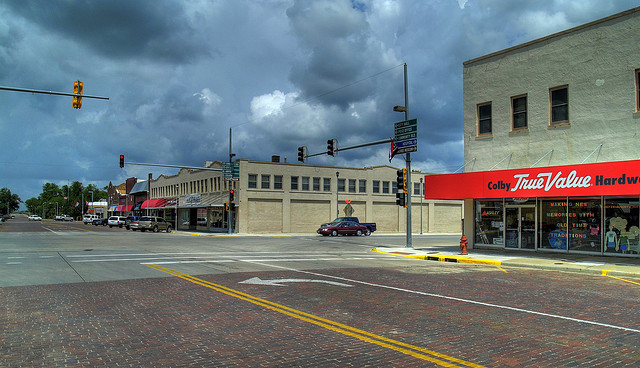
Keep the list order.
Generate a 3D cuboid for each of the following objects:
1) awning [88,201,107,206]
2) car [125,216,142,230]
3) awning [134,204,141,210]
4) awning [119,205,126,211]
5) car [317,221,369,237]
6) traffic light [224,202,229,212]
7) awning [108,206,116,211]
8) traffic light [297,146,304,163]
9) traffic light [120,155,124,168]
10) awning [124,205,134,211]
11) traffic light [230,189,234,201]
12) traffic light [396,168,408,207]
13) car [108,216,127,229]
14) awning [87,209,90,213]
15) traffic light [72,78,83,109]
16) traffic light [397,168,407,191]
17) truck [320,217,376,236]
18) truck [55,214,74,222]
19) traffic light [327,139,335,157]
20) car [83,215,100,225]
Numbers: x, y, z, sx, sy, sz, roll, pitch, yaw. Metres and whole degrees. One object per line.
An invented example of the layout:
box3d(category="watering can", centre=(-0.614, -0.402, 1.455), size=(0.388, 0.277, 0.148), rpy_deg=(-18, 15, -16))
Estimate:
box3d(category="awning", centre=(-76.948, 6.881, 176.827), size=(4.106, 0.831, 3.883), rpy_deg=(3, -4, -35))
box3d(category="car", centre=(-24.308, 5.053, 66.188), size=(1.732, 1.355, 2.950), rpy_deg=(0, 2, -34))
box3d(category="awning", centre=(-35.648, 4.512, 98.972), size=(1.052, 0.931, 1.040), rpy_deg=(0, -2, -12))
box3d(category="awning", centre=(-42.051, 5.072, 107.856), size=(1.406, 0.797, 1.726), rpy_deg=(0, -3, -19))
box3d(category="car", centre=(2.527, 4.878, 55.182), size=(4.703, 1.333, 1.973), rpy_deg=(4, -7, -24))
box3d(category="traffic light", centre=(-10.402, 2.625, 56.694), size=(0.532, 0.892, 2.829), rpy_deg=(-1, 3, -9))
box3d(category="awning", centre=(-48.149, 5.688, 117.523), size=(1.179, 1.444, 8.543), rpy_deg=(-2, 4, -25))
box3d(category="traffic light", centre=(-1.392, -2.318, 39.763), size=(0.379, 1.075, 0.544), rpy_deg=(0, 4, 3))
box3d(category="traffic light", centre=(-18.064, -2.061, 46.072), size=(0.254, 1.021, 0.269), rpy_deg=(-2, 5, -28))
box3d(category="awning", centre=(-38.476, 4.939, 102.505), size=(0.949, 1.444, 5.413), rpy_deg=(-2, 4, -29))
box3d(category="traffic light", centre=(-9.361, 1.216, 54.126), size=(0.294, 0.891, 0.676), rpy_deg=(0, 4, 9))
box3d(category="traffic light", centre=(6.064, 0.235, 36.744), size=(0.734, 2.693, 1.258), rpy_deg=(1, 4, 8))
box3d(category="car", centre=(-30.451, 5.829, 76.055), size=(1.742, 1.684, 5.523), rpy_deg=(-2, 4, -33))
box3d(category="awning", centre=(-63.839, 7.476, 139.727), size=(0.620, 0.683, 1.080), rpy_deg=(6, -10, -38))
box3d(category="traffic light", centre=(-12.500, -4.607, 26.117), size=(0.362, 1.365, 0.919), rpy_deg=(-2, 5, -29))
box3d(category="traffic light", centre=(5.967, -0.297, 36.394), size=(0.644, 1.593, 0.586), rpy_deg=(1, 4, 7))
box3d(category="truck", centre=(4.024, 4.583, 58.118), size=(5.714, 1.740, 2.450), rpy_deg=(3, -6, -19))
box3d(category="truck", centre=(-72.579, 9.695, 143.630), size=(3.567, 1.247, 2.065), rpy_deg=(-3, -4, 15))
box3d(category="traffic light", centre=(0.879, -2.719, 37.796), size=(0.540, 1.216, 0.529), rpy_deg=(0, 4, -6))
box3d(category="car", centre=(-43.540, 6.869, 96.338), size=(2.130, 1.594, 3.692), rpy_deg=(0, 1, 32))
